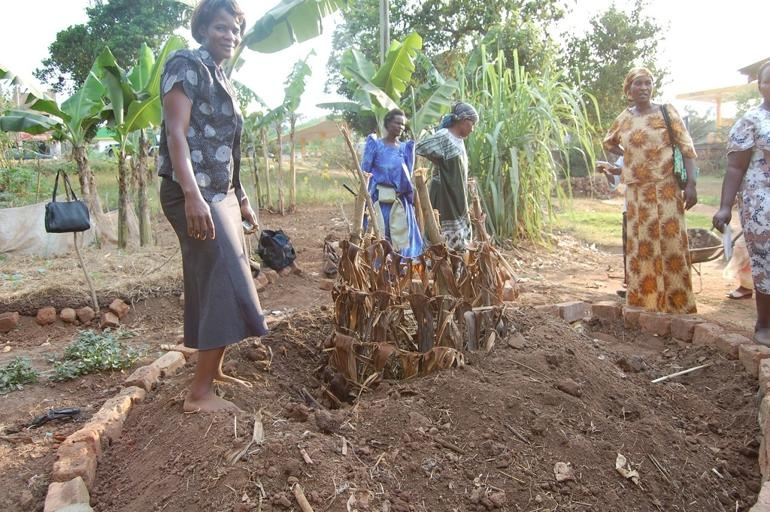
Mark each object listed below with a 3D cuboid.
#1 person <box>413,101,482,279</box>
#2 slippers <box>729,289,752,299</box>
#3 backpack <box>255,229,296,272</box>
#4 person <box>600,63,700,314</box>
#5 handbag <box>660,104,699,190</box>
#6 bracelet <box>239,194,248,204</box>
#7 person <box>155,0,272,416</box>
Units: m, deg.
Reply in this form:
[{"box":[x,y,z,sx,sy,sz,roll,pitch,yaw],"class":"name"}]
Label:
[{"box":[0.647,-0.811,5.731,0.606,1.482,0.405,-1,9,2],"class":"person"},{"box":[4.102,0.438,6.454,0.209,0.078,0.117,0,4,5],"class":"slippers"},{"box":[-1.509,-0.057,7.628,0.302,0.557,0.442,-12,17,28],"class":"backpack"},{"box":[2.605,-0.623,5.342,0.723,2.268,0.318,4,10,31],"class":"person"},{"box":[2.708,-1.029,5.244,0.264,0.783,0.107,2,9,20],"class":"handbag"},{"box":[-1.053,-0.420,4.171,0.049,0.069,0.090,5,-1,2],"class":"bracelet"},{"box":[-1.188,-0.337,3.807,0.619,2.755,0.577,-5,9,-22],"class":"person"}]
